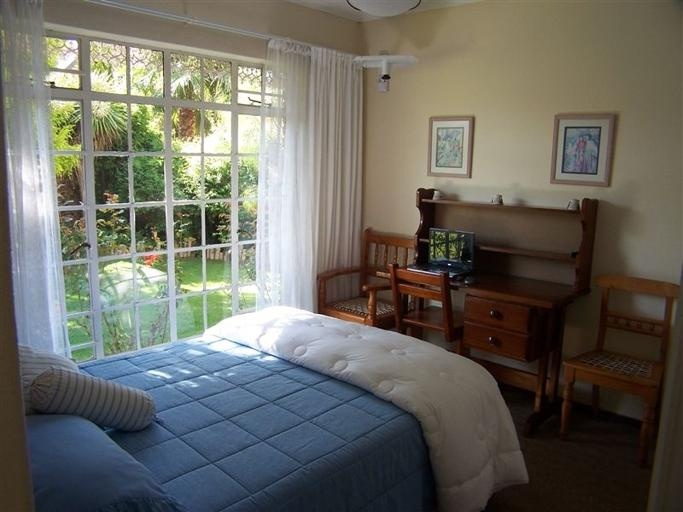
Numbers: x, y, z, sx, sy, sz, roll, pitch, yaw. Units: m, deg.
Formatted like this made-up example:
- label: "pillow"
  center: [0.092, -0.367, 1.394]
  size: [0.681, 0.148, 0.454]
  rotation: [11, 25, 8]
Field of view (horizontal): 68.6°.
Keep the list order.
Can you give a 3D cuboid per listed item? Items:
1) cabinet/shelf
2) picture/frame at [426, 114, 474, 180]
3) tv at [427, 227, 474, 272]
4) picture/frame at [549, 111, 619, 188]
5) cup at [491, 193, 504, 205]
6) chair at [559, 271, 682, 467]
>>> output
- label: "cabinet/shelf"
  center: [1.071, 0.384, 3.405]
  size: [1.551, 1.925, 0.928]
  rotation: [6, 8, 41]
- label: "picture/frame"
  center: [0.921, -0.914, 4.170]
  size: [0.042, 0.593, 0.498]
  rotation: [-10, 16, -44]
- label: "tv"
  center: [0.883, -0.081, 4.018]
  size: [0.397, 0.319, 0.380]
  rotation: [8, 11, 31]
- label: "picture/frame"
  center: [1.720, -0.756, 3.520]
  size: [0.493, 0.659, 0.044]
  rotation: [11, 13, 38]
- label: "cup"
  center: [1.204, -0.436, 3.860]
  size: [0.095, 0.085, 0.078]
  rotation: [-2, 13, 0]
- label: "chair"
  center: [1.791, 0.684, 3.269]
  size: [0.542, 1.045, 0.651]
  rotation: [9, 13, 34]
